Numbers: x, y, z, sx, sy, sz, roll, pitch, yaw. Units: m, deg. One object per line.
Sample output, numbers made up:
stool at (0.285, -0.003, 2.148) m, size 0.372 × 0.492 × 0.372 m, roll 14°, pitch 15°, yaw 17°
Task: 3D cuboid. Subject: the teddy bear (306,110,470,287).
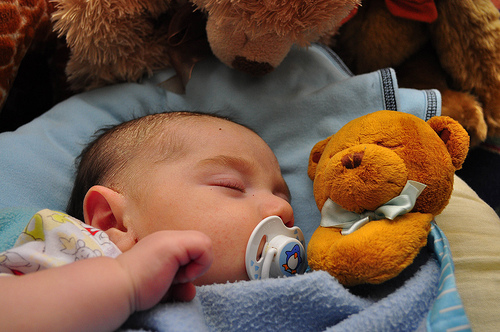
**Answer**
teddy bear at (0.332, 0.085, 1.273) m, size 0.282 × 0.452 × 0.474 m, roll 25°, pitch 65°, yaw -38°
